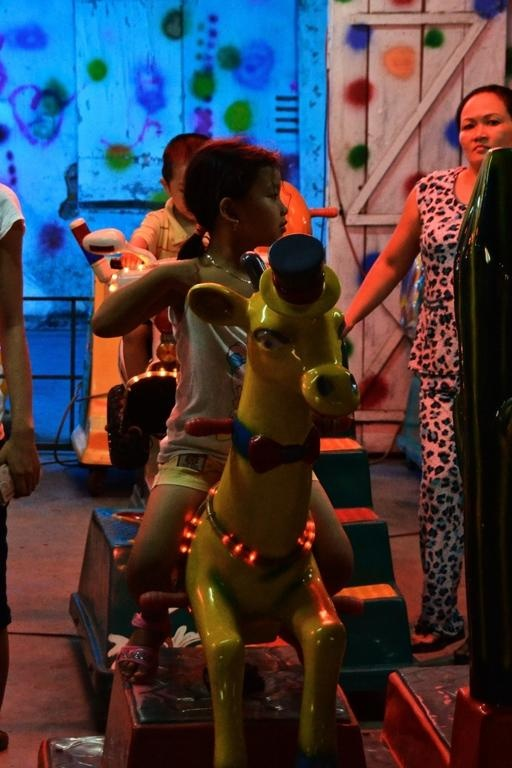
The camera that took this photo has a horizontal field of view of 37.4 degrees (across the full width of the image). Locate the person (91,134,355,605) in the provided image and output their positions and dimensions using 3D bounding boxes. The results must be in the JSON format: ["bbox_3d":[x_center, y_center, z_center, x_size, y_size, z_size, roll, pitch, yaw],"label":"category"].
[{"bbox_3d":[-0.039,0.029,1.157,0.443,0.767,0.280,-4,14,-25],"label":"person"}]
